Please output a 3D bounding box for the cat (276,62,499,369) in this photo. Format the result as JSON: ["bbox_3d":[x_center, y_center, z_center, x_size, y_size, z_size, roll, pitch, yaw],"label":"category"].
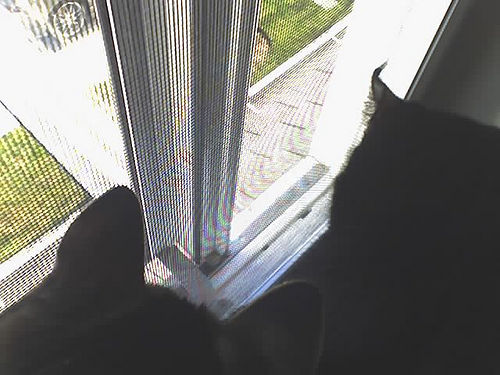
[{"bbox_3d":[0.800,0.196,1.985,0.934,1.283,0.437,14,4,23],"label":"cat"}]

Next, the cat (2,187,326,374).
[{"bbox_3d":[-0.203,0.233,1.081,0.611,0.466,0.384,11,78,-14],"label":"cat"}]
